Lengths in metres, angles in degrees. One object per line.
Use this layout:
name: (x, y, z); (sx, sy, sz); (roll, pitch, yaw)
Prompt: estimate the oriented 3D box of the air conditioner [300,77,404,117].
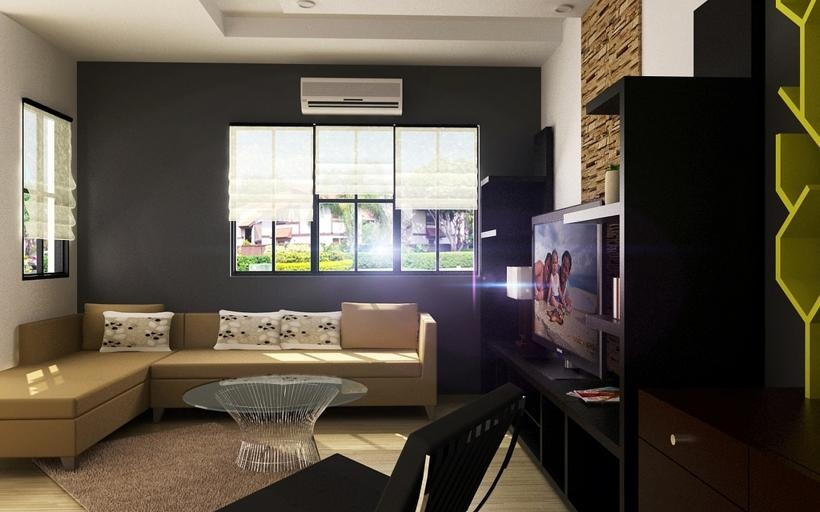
air conditioner: (-0.636, -1.730, 6.392); (1.070, 0.377, 0.141); (0, 10, -4)
